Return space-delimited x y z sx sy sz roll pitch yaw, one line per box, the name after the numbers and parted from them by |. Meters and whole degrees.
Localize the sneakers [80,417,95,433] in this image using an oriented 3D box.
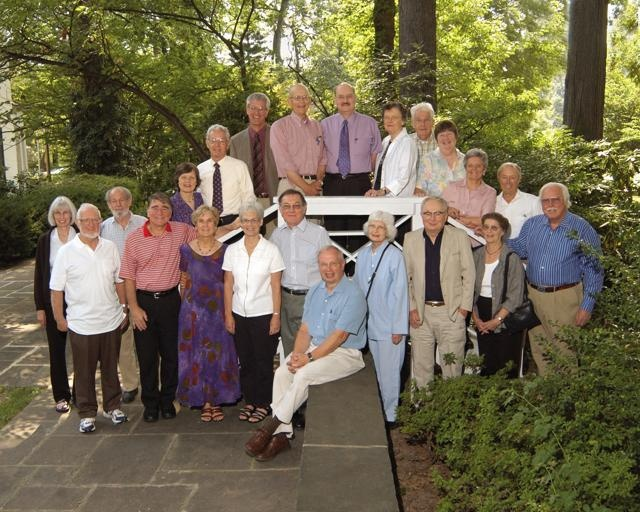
-2.429 1.762 5.776 0.087 0.096 0.216 3 -10 -24 | sneakers

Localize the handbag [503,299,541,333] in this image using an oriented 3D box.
2.102 0.620 5.804 0.270 0.265 0.108 -30 -7 11 | handbag

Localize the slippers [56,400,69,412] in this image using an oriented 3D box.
-2.906 1.685 6.239 0.093 0.111 0.157 4 -17 -26 | slippers

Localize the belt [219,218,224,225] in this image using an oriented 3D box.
-1.225 -0.423 6.814 0.052 0.094 0.066 0 -7 -15 | belt

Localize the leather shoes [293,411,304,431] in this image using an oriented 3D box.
-0.223 1.700 5.727 0.078 0.057 0.201 -2 21 -5 | leather shoes

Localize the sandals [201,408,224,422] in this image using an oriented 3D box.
-1.182 1.697 5.977 0.137 0.056 0.199 0 40 -5 | sandals

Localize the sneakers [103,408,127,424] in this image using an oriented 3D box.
-2.233 1.719 6.020 0.294 0.134 0.121 -1 2 34 | sneakers
